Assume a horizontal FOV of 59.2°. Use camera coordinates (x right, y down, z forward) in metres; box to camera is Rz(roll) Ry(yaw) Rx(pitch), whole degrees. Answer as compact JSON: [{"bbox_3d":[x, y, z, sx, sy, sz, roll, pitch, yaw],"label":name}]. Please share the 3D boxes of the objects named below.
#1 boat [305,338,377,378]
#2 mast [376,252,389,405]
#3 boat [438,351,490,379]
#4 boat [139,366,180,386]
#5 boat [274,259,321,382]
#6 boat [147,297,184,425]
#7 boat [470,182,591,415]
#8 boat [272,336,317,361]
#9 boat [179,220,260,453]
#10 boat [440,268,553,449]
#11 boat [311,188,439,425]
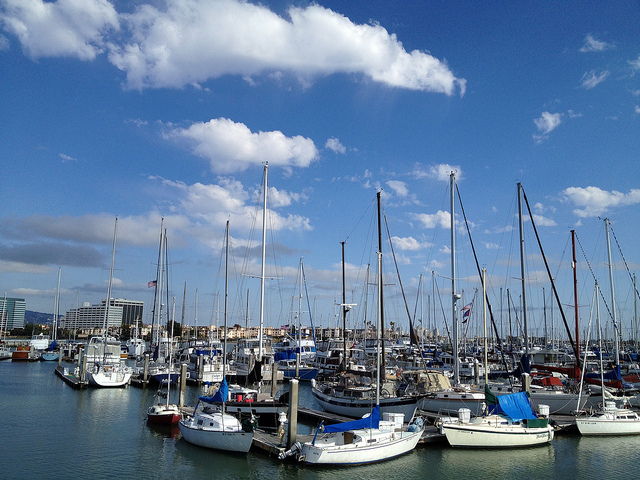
[{"bbox_3d":[1.354,15.844,74.893,3.330,5.169,15.927,-1,-8,-22],"label":"boat"},{"bbox_3d":[4.993,8.581,46.281,1.172,13.182,1.314,2,-5,-23],"label":"mast"},{"bbox_3d":[17.544,15.636,70.019,3.689,2.695,6.236,3,-12,-13],"label":"boat"},{"bbox_3d":[-19.062,16.086,66.685,5.433,2.368,3.225,-6,-17,27],"label":"boat"},{"bbox_3d":[-3.156,10.755,75.680,3.217,18.074,15.254,-2,-8,7],"label":"boat"},{"bbox_3d":[-13.316,10.355,49.973,2.392,11.255,6.448,4,-6,-23],"label":"boat"},{"bbox_3d":[19.211,6.350,50.646,18.284,23.047,3.779,6,-10,-25],"label":"boat"},{"bbox_3d":[-4.102,16.145,84.929,2.975,3.660,11.731,4,-17,-19],"label":"boat"},{"bbox_3d":[-8.262,7.318,45.938,4.031,18.461,11.984,5,-12,-34],"label":"boat"},{"bbox_3d":[13.723,13.954,43.849,8.081,4.438,1.736,3,-14,-14],"label":"boat"},{"bbox_3d":[4.213,6.783,50.644,11.904,18.792,3.789,-1,-1,34],"label":"boat"}]
